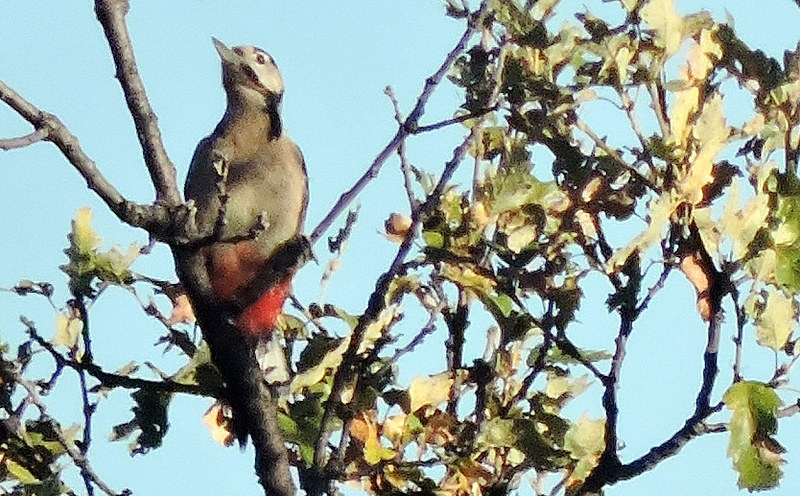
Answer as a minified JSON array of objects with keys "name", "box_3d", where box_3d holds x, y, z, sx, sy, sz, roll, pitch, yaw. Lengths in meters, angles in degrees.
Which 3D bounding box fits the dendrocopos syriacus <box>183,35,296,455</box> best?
[{"name":"dendrocopos syriacus","box_3d":[-0.280,-0.099,3.365,0.225,0.445,0.314,6,-40,-15]}]
